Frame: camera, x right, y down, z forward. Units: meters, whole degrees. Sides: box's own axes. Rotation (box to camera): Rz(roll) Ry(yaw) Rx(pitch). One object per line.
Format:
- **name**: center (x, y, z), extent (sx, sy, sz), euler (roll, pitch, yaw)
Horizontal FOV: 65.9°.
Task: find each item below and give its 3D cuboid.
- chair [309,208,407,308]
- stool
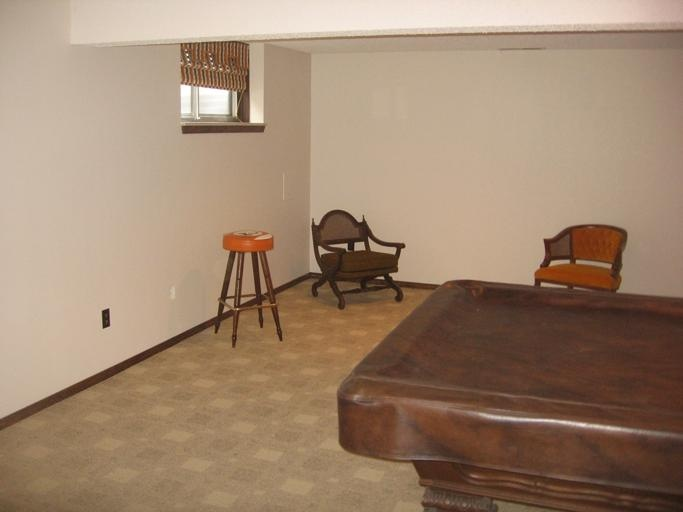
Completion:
- **chair**: center (0.163, -0.007, 6.398), extent (0.950, 1.128, 0.916), euler (-4, 8, -21)
- **stool**: center (-0.887, 0.281, 4.987), extent (0.653, 0.950, 0.687), euler (4, 7, 18)
